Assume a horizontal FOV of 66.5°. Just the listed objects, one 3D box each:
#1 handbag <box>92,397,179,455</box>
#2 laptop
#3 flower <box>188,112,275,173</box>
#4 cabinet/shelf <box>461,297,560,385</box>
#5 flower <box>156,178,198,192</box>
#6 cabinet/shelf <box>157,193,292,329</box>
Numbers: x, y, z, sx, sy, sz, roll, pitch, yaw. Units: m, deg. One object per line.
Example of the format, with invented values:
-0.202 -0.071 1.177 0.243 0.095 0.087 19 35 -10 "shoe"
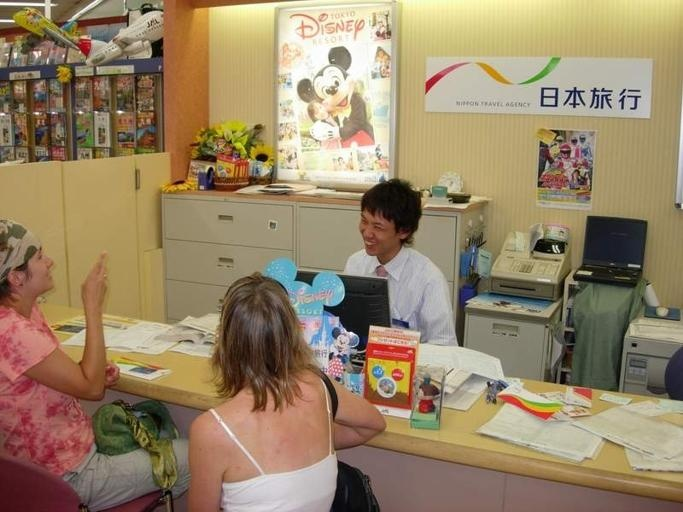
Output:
-0.836 0.667 2.088 0.256 0.127 0.211 3 16 0 "handbag"
1.928 -0.093 3.692 0.517 0.489 0.563 6 -8 41 "laptop"
-1.049 -1.099 4.816 0.686 0.285 0.634 -8 12 -33 "flower"
1.243 0.615 3.817 0.577 0.594 0.459 7 17 33 "cabinet/shelf"
-1.489 -0.635 4.723 0.338 0.118 0.276 -1 9 -14 "flower"
-0.995 0.012 4.754 1.162 1.207 0.431 5 15 3 "cabinet/shelf"
